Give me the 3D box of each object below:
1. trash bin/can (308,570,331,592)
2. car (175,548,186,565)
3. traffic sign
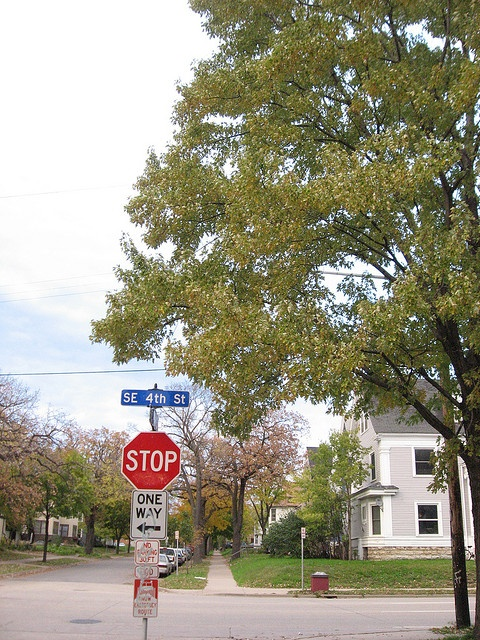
[{"bbox_3d":[2.685,8.768,24.036,0.572,0.593,0.718,-2,-15,5],"label":"trash bin/can"},{"bbox_3d":[-4.260,16.660,50.633,0.809,1.467,2.749,-1,-17,3],"label":"car"},{"bbox_3d":[-1.113,1.745,8.950,0.700,0.720,0.379,2,-13,-10],"label":"traffic sign"}]
